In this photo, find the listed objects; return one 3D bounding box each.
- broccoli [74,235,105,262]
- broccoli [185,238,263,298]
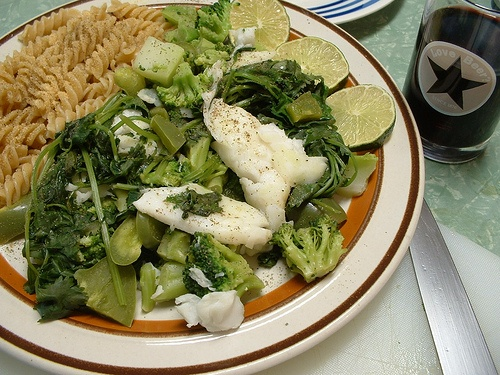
[{"bbox_3d":[-0.853,0.324,2.401,0.124,0.046,0.137,3,89,-8],"label":"broccoli"},{"bbox_3d":[-0.139,0.446,2.354,0.413,0.315,0.186,32,106,10],"label":"broccoli"}]
